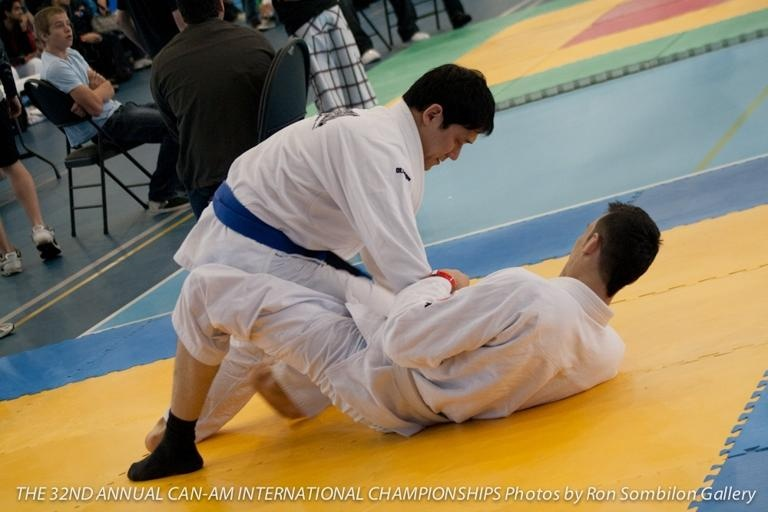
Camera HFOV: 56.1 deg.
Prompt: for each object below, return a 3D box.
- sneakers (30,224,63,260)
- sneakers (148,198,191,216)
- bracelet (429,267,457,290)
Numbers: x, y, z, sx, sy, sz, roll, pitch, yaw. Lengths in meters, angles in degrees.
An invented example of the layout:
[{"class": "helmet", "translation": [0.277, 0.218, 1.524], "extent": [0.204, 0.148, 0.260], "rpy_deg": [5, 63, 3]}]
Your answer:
[{"class": "sneakers", "translation": [-2.810, -0.131, 6.057], "extent": [0.156, 0.170, 0.369], "rpy_deg": [-21, -18, -12]}, {"class": "sneakers", "translation": [-1.928, -0.478, 6.425], "extent": [0.305, 0.134, 0.105], "rpy_deg": [-17, 28, -10]}, {"class": "bracelet", "translation": [0.247, 0.096, 2.998], "extent": [0.089, 0.090, 0.033], "rpy_deg": [22, 74, 50]}]
